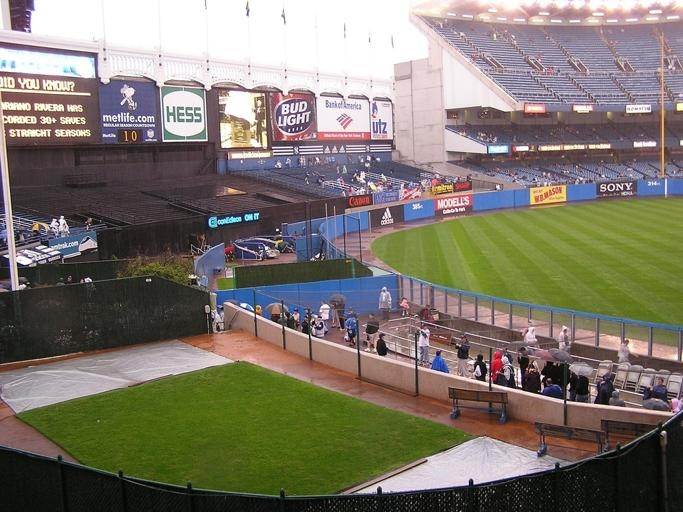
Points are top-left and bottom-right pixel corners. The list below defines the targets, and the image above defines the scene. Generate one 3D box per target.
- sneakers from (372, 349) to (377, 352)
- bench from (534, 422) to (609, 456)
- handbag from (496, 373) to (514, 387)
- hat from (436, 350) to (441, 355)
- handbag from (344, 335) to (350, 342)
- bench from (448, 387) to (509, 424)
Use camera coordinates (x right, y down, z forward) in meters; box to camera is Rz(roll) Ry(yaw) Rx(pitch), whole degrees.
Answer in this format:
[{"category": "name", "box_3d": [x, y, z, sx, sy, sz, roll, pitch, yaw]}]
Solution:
[{"category": "sneakers", "box_3d": [1.175, 3.309, 27.028, 0.165, 0.155, 0.166, 1, -1, -3]}, {"category": "bench", "box_3d": [5.700, 4.494, 18.959, 1.640, 0.961, 0.647, 3, 16, 27]}, {"category": "handbag", "box_3d": [4.746, 3.531, 22.021, 0.587, 0.391, 0.367, -1, 6, -12]}, {"category": "hat", "box_3d": [2.908, 2.856, 22.744, 0.151, 0.177, 0.190, 0, 1, 2]}, {"category": "handbag", "box_3d": [0.246, 2.976, 28.001, 0.328, 0.144, 0.483, 2, 2, -2]}, {"category": "bench", "box_3d": [3.791, 3.975, 21.117, 1.619, 0.844, 0.850, 2, 6, 13]}]
